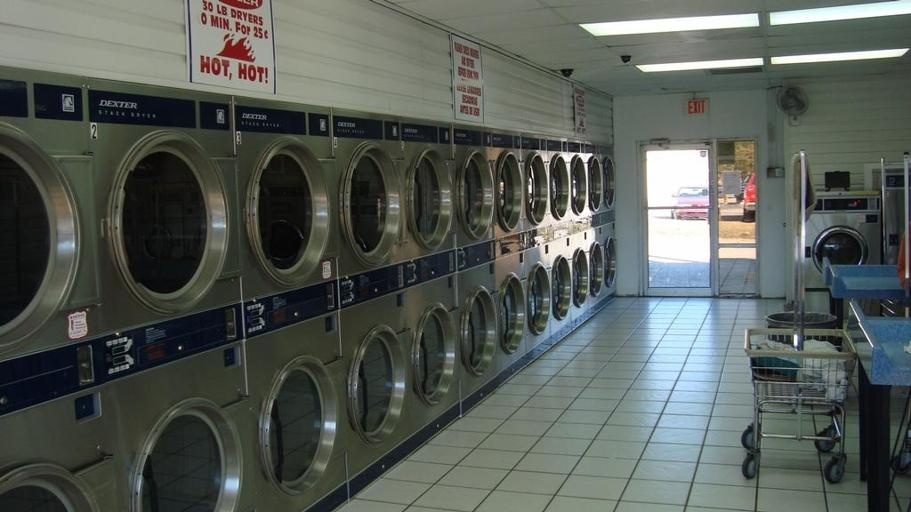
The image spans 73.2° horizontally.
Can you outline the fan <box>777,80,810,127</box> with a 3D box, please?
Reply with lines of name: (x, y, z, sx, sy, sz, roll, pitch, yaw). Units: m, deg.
fan: (5.802, -2.609, 10.530, 0.479, 0.690, 0.302, 2, 11, 26)
